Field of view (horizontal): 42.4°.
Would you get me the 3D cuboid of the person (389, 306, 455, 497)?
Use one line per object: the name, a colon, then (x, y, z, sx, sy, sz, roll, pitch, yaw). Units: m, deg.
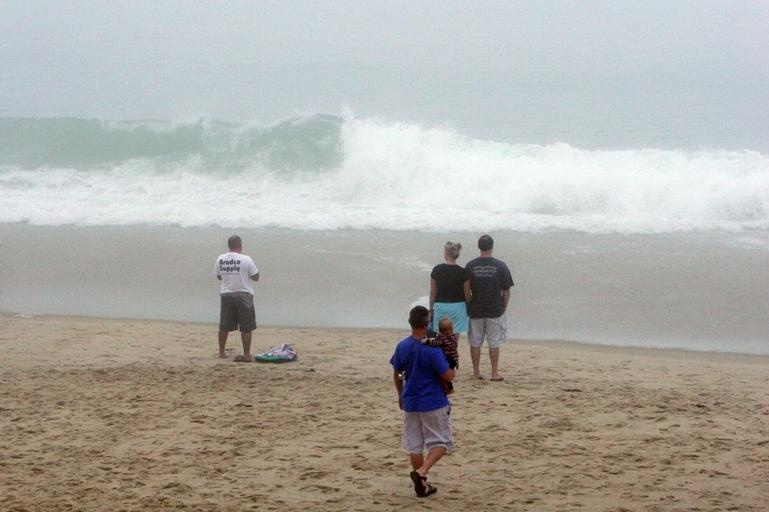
person: (0.632, 2.245, 15.273, 0.873, 2.864, 0.710, -3, 14, -8)

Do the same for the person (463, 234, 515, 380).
person: (1.885, 0.945, 18.098, 0.830, 2.634, 0.631, 0, 14, 5)

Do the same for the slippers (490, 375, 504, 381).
slippers: (2.052, 2.246, 18.143, 0.220, 0.077, 0.083, -4, 11, -9)

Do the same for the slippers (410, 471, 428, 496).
slippers: (0.535, 3.488, 15.249, 0.190, 0.443, 0.193, -7, 5, 28)

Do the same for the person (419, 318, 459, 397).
person: (0.972, 1.574, 15.449, 0.811, 1.179, 0.739, -6, 3, -2)

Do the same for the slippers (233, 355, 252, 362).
slippers: (-2.732, 1.980, 18.949, 0.288, 0.088, 0.147, 0, 4, 15)

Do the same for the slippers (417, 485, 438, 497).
slippers: (0.671, 3.627, 15.294, 0.336, 0.115, 0.130, -5, 9, -38)

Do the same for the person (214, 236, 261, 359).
person: (-2.837, 0.819, 18.876, 0.819, 2.361, 0.547, 2, 14, 14)

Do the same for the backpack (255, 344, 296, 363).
backpack: (-2.092, 1.884, 19.106, 0.802, 0.229, 0.507, -2, 12, -5)
